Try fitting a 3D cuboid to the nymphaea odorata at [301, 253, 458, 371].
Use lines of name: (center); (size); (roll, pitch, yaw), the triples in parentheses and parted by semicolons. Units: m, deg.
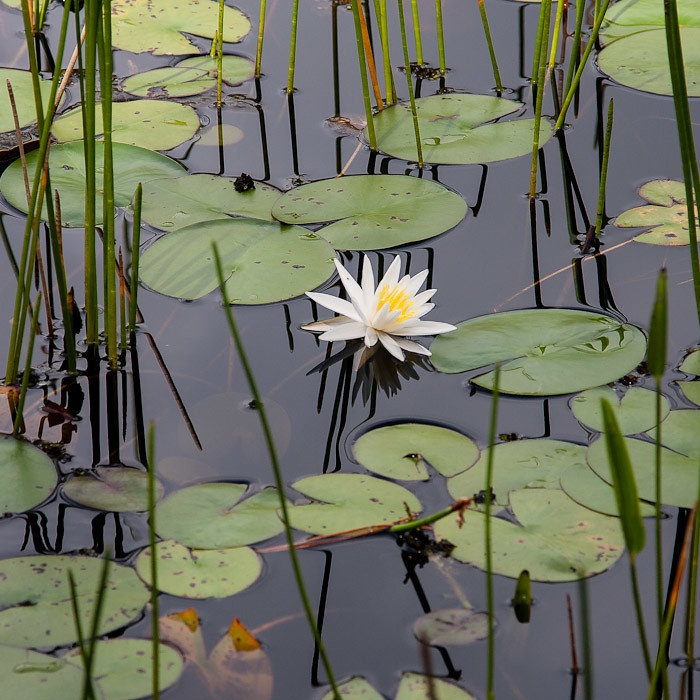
nymphaea odorata: (0.075, -0.075, 1.924); (0.218, 0.078, 0.228); (9, 15, -45)
